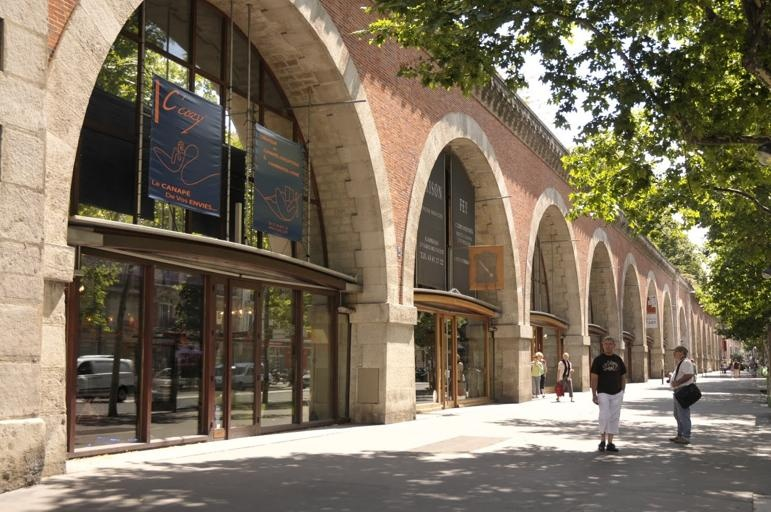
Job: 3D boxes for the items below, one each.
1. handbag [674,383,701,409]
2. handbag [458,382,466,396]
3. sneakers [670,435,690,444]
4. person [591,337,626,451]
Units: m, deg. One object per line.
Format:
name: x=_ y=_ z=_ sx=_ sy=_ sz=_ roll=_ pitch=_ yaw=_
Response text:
handbag: x=6.572 y=3.044 z=14.814 sx=0.513 sy=0.538 sz=0.583 roll=-8 pitch=-16 yaw=22
handbag: x=2.789 y=4.780 z=24.454 sx=0.105 sy=0.419 sz=0.457 roll=-1 pitch=-10 yaw=31
sneakers: x=6.485 y=4.030 z=14.921 sx=0.271 sy=0.107 sz=0.158 roll=21 pitch=-20 yaw=-37
person: x=4.602 y=2.831 z=13.949 sx=0.666 sy=2.266 sz=0.693 roll=-6 pitch=-15 yaw=16
